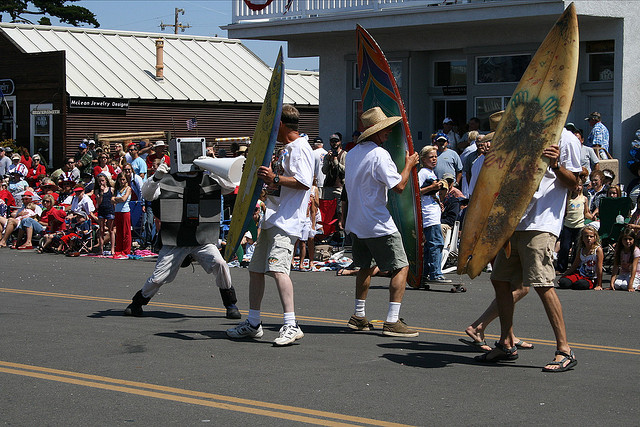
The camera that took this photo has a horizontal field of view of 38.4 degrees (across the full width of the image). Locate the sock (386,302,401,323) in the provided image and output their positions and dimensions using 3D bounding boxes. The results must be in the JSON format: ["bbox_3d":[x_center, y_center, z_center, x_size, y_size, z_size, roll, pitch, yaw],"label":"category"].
[{"bbox_3d":[0.951,1.239,11.850,0.242,0.299,0.224,2,7,-3],"label":"sock"}]

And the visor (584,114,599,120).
[{"bbox_3d":[5.768,-2.051,19.528,0.261,0.082,0.166,-1,3,21],"label":"visor"}]

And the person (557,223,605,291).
[{"bbox_3d":[4.362,0.713,15.261,0.826,1.023,0.675,-3,8,-32],"label":"person"}]

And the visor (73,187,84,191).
[{"bbox_3d":[-5.247,-0.521,19.903,0.200,0.068,0.263,-2,9,-14],"label":"visor"}]

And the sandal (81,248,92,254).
[{"bbox_3d":[-4.995,0.786,19.615,0.208,0.096,0.072,2,9,7],"label":"sandal"}]

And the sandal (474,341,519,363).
[{"bbox_3d":[2.064,1.657,10.842,0.549,0.211,0.194,1,-2,1],"label":"sandal"}]

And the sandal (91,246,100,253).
[{"bbox_3d":[-4.815,0.774,19.637,0.147,0.127,0.034,-1,-2,9],"label":"sandal"}]

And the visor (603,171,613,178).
[{"bbox_3d":[5.559,-0.745,17.684,0.202,0.116,0.123,-6,11,-33],"label":"visor"}]

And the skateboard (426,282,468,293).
[{"bbox_3d":[2.088,1.209,14.882,0.853,0.113,0.186,0,9,-29],"label":"skateboard"}]

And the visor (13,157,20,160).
[{"bbox_3d":[-8.416,-1.517,25.323,0.164,0.042,0.081,1,9,3],"label":"visor"}]

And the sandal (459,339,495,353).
[{"bbox_3d":[1.913,1.598,11.213,0.407,0.102,0.148,18,2,29],"label":"sandal"}]

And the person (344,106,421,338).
[{"bbox_3d":[0.804,0.114,11.828,0.955,2.906,0.533,5,10,28],"label":"person"}]

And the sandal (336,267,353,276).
[{"bbox_3d":[0.465,1.053,16.590,0.200,0.182,0.071,-3,-30,9],"label":"sandal"}]

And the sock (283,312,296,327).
[{"bbox_3d":[-0.374,1.302,11.359,0.177,0.228,0.174,-4,-1,-5],"label":"sock"}]

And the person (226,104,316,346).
[{"bbox_3d":[-0.534,0.152,11.421,0.905,2.943,0.699,0,9,-2],"label":"person"}]

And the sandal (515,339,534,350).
[{"bbox_3d":[2.535,1.625,11.291,0.243,0.067,0.085,-1,2,14],"label":"sandal"}]
